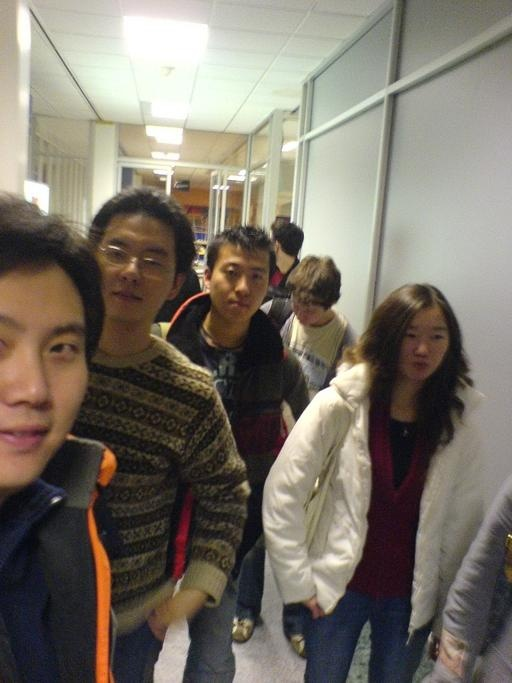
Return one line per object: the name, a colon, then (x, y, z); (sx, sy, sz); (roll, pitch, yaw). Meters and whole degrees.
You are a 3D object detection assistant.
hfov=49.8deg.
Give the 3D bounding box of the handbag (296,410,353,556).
handbag: (0.210, 0.388, 1.513); (0.109, 0.322, 0.244); (18, -19, -7)
